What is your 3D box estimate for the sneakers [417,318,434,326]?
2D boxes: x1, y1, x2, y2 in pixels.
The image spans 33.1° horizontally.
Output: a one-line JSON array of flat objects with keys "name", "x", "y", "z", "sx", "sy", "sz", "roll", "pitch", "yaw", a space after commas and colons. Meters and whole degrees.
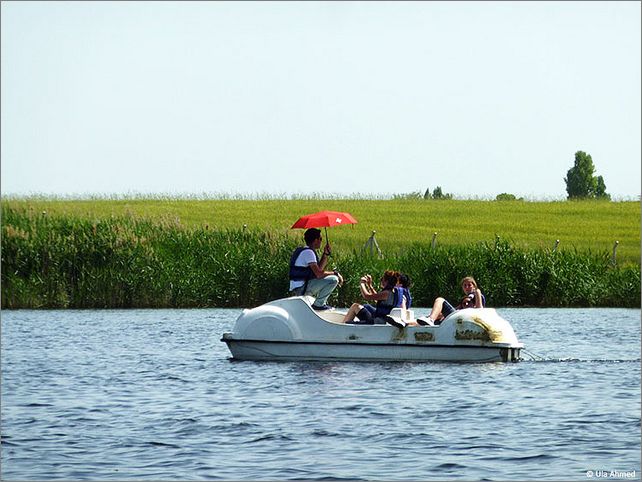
[{"name": "sneakers", "x": 1.936, "y": 1.497, "z": 19.938, "sx": 0.319, "sy": 0.175, "sz": 0.122, "roll": -2, "pitch": 7, "yaw": -22}]

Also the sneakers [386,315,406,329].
[{"name": "sneakers", "x": 1.365, "y": 1.466, "z": 19.707, "sx": 0.363, "sy": 0.162, "sz": 0.157, "roll": 31, "pitch": 27, "yaw": 25}]

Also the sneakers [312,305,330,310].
[{"name": "sneakers", "x": -0.009, "y": 1.277, "z": 20.533, "sx": 0.349, "sy": 0.164, "sz": 0.127, "roll": 1, "pitch": -1, "yaw": -10}]

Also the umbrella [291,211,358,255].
[{"name": "umbrella", "x": 0.072, "y": -0.242, "z": 20.807, "sx": 0.826, "sy": 0.663, "sz": 0.863, "roll": -3, "pitch": -2, "yaw": 8}]

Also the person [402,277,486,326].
[{"name": "person", "x": 2.471, "y": 1.088, "z": 20.553, "sx": 1.263, "sy": 0.923, "sz": 0.675, "roll": -3, "pitch": 15, "yaw": 2}]

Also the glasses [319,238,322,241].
[{"name": "glasses", "x": -0.023, "y": -0.031, "z": 20.478, "sx": 0.056, "sy": 0.073, "sz": 0.071, "roll": 3, "pitch": 10, "yaw": 6}]
